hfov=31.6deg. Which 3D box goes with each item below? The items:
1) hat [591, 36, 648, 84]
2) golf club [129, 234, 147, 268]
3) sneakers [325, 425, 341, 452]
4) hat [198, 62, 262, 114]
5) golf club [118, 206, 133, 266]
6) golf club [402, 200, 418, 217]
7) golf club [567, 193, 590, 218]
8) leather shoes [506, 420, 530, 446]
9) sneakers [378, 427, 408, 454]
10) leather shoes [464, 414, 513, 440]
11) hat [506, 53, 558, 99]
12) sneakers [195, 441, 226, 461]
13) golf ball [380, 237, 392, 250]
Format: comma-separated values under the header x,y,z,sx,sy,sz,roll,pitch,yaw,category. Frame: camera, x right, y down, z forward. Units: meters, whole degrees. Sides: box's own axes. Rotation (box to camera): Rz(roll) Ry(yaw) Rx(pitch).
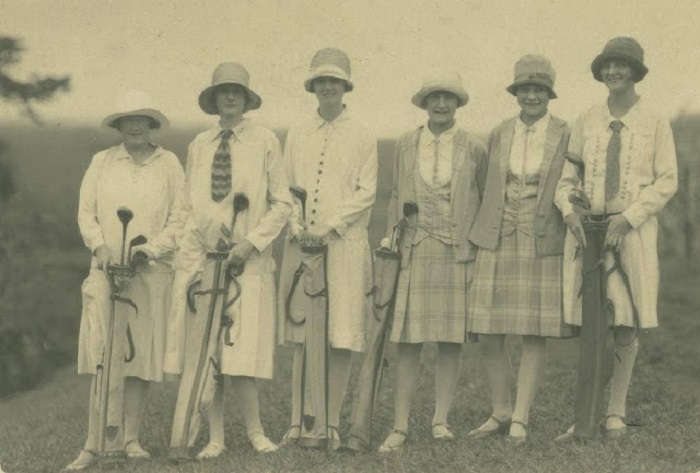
x,y,z,sx,sy,sz,roll,pitch,yaw,category
2.717,-1.833,12.500,0.531,0.269,0.544,-14,-34,40,hat
-2.151,0.153,12.494,0.233,0.293,0.176,19,14,39,golf club
-0.158,2.041,12.432,0.141,0.216,0.120,1,0,-1,sneakers
-1.266,-1.573,12.893,0.626,0.300,0.589,-4,-25,4,hat
-2.292,0.014,12.559,0.157,0.451,0.259,1,0,-9,golf club
0.609,-0.270,12.465,0.178,0.149,0.042,1,31,5,golf club
2.283,-0.311,12.283,0.212,0.238,0.054,1,1,1,golf club
1.747,1.989,12.505,0.338,0.228,0.204,1,0,-40,leather shoes
0.428,2.100,12.481,0.173,0.125,0.336,-6,0,36,sneakers
1.465,1.986,12.755,0.534,0.174,0.187,-10,-1,1,leather shoes
1.886,-1.661,12.618,0.493,0.280,0.482,-2,-18,29,hat
-1.400,2.180,12.468,0.168,0.131,0.351,1,0,32,sneakers
0.366,0.084,12.629,0.121,0.107,0.090,10,12,1,golf ball
